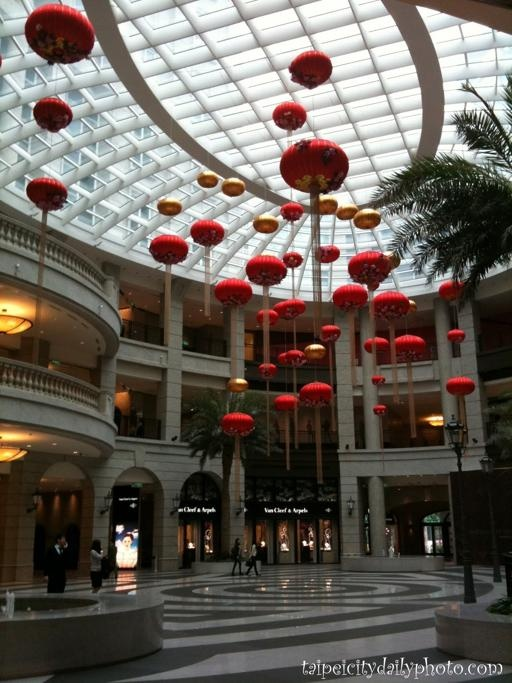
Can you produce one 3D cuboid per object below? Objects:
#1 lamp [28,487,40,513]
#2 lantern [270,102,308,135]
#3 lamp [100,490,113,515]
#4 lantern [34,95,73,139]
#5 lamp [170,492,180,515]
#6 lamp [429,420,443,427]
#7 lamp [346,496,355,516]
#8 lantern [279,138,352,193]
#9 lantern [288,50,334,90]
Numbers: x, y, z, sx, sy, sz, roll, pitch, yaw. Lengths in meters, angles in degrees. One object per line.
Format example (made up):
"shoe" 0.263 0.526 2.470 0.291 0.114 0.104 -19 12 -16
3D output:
"lamp" -8.711 6.184 20.966 0.361 0.947 0.720 8 -20 -28
"lantern" 0.654 -4.592 10.749 0.611 0.593 0.531 -5 -17 9
"lamp" -6.995 7.529 25.221 0.398 1.124 0.674 -6 -18 14
"lantern" -3.536 -4.052 9.341 0.564 0.765 0.744 7 -19 -27
"lamp" -4.224 8.554 28.285 0.472 1.070 0.571 10 -21 -34
"lamp" 13.567 6.069 39.927 1.152 0.528 1.153 -7 -10 35
"lamp" 5.754 10.033 32.758 0.505 1.166 0.530 -5 -18 9
"lantern" 0.886 -2.721 8.340 0.945 0.617 0.854 14 -23 -42
"lantern" 0.891 -4.667 8.988 0.657 0.716 0.623 -2 -17 -1
